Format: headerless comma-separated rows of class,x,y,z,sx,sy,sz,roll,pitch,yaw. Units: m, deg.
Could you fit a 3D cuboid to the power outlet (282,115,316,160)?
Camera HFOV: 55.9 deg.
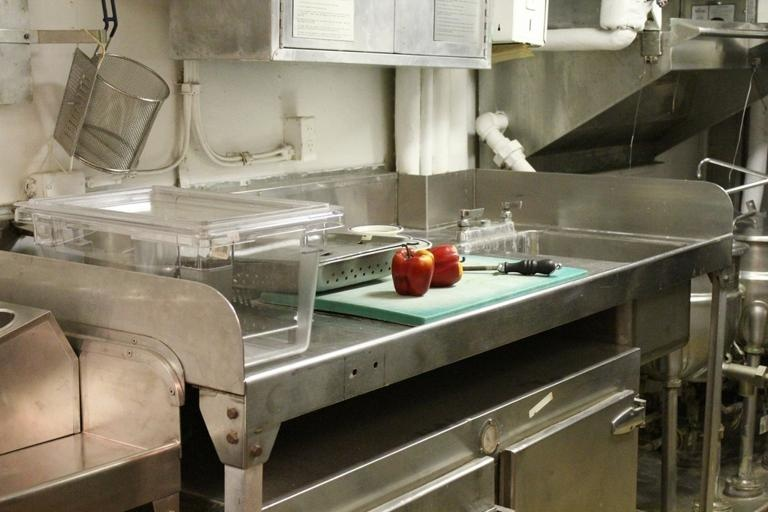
power outlet,-0.312,-0.440,2.688,0.129,0.153,0.122,-6,15,-18

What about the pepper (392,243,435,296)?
pepper,0.078,0.037,1.998,0.124,0.143,0.126,-7,13,-37
